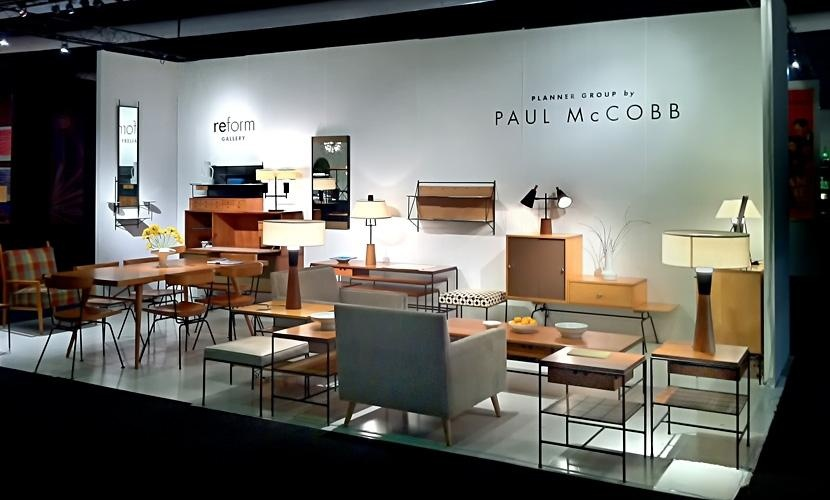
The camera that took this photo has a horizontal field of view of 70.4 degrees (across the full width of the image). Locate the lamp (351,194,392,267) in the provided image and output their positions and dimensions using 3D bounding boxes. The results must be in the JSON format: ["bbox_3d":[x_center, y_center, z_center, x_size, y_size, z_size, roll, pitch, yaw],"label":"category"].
[{"bbox_3d":[-0.783,-0.368,11.008,0.727,1.248,0.872,1,15,5],"label":"lamp"}]

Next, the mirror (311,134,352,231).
[{"bbox_3d":[-1.650,-1.323,11.606,0.827,1.787,0.542,1,16,7],"label":"mirror"}]

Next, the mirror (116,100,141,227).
[{"bbox_3d":[-5.965,-1.784,12.263,0.589,2.518,0.047,13,17,13],"label":"mirror"}]

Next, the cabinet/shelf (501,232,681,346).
[{"bbox_3d":[2.842,0.599,9.582,2.609,1.494,0.698,4,5,40],"label":"cabinet/shelf"}]

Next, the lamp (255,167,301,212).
[{"bbox_3d":[-2.733,-1.218,11.911,0.939,0.859,0.419,1,9,1],"label":"lamp"}]

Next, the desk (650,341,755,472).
[{"bbox_3d":[3.201,1.678,6.560,0.989,0.962,0.834,0,-1,28],"label":"desk"}]

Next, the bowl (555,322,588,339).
[{"bbox_3d":[2.013,1.033,7.583,0.402,0.167,0.293,-1,15,-1],"label":"bowl"}]

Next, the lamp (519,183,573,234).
[{"bbox_3d":[2.234,-0.667,9.986,0.899,0.826,0.284,-2,-7,22],"label":"lamp"}]

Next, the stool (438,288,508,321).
[{"bbox_3d":[1.084,0.863,10.204,0.734,0.444,0.725,2,6,21],"label":"stool"}]

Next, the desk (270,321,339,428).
[{"bbox_3d":[-1.110,1.611,8.027,0.738,1.023,2.182,1,-4,14],"label":"desk"}]

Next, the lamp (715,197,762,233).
[{"bbox_3d":[4.848,-0.545,8.806,0.653,0.615,0.595,1,3,23],"label":"lamp"}]

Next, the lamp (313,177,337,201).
[{"bbox_3d":[-1.778,-1.203,11.773,0.500,0.498,0.478,0,14,-4],"label":"lamp"}]

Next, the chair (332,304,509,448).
[{"bbox_3d":[0.109,1.393,7.250,1.833,1.396,1.723,-1,1,24],"label":"chair"}]

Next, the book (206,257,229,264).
[{"bbox_3d":[-3.556,0.200,10.541,0.313,0.074,0.229,0,4,6],"label":"book"}]

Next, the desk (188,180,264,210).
[{"bbox_3d":[-3.864,-1.093,12.182,1.560,0.561,0.585,5,16,20],"label":"desk"}]

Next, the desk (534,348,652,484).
[{"bbox_3d":[1.977,1.761,6.520,1.108,1.028,0.925,-2,-2,28],"label":"desk"}]

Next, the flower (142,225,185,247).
[{"bbox_3d":[-4.222,-0.213,10.179,0.849,0.493,0.729,0,1,-30],"label":"flower"}]

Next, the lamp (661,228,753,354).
[{"bbox_3d":[3.309,0.533,6.677,0.928,1.279,0.879,6,-11,-19],"label":"lamp"}]
